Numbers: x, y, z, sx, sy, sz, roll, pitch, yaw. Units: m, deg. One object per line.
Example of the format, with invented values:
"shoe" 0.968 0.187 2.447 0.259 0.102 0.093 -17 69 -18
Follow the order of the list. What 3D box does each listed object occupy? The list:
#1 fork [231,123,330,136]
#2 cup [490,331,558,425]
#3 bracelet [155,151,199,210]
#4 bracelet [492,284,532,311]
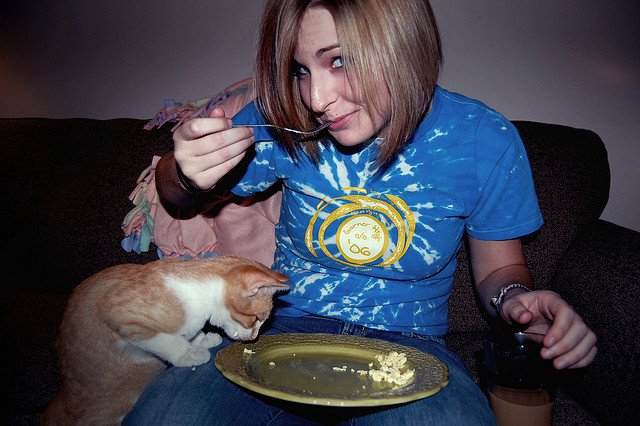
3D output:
"fork" -0.159 -0.369 2.121 0.514 0.070 0.055 -2 32 -7
"cup" 0.837 0.674 2.012 0.283 0.326 0.280 -2 29 1
"bracelet" -0.683 -0.148 2.264 0.150 0.239 0.300 -17 33 -24
"bracelet" 0.851 0.363 2.149 0.126 0.047 0.105 -20 58 28
